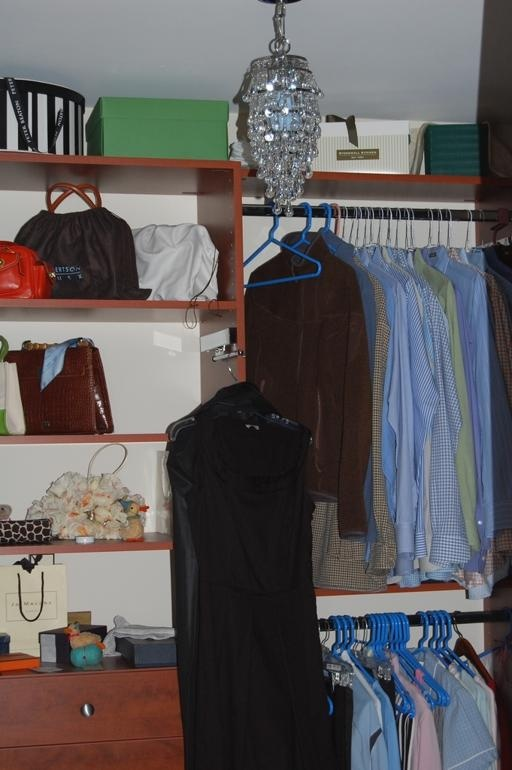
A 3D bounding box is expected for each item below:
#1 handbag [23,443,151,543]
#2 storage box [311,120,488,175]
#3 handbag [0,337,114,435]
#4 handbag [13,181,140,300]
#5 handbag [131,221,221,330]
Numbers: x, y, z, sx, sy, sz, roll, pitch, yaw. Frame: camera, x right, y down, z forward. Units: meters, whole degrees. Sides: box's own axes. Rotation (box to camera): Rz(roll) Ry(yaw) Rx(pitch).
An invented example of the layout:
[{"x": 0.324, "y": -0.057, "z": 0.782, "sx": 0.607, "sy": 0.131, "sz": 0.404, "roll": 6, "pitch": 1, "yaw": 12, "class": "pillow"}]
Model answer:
[{"x": -0.462, "y": 0.287, "z": 2.014, "sx": 0.314, "sy": 0.264, "sz": 0.230, "roll": 2, "pitch": 7, "yaw": 19, "class": "handbag"}, {"x": 0.422, "y": -0.697, "z": 2.134, "sx": 0.494, "sy": 0.194, "sz": 0.160, "roll": -7, "pitch": 7, "yaw": -19, "class": "storage box"}, {"x": -0.543, "y": 0.010, "z": 1.942, "sx": 0.272, "sy": 0.239, "sz": 0.106, "roll": -5, "pitch": -6, "yaw": 11, "class": "handbag"}, {"x": -0.514, "y": -0.391, "z": 2.020, "sx": 0.367, "sy": 0.327, "sz": 0.181, "roll": 2, "pitch": 0, "yaw": 5, "class": "handbag"}, {"x": -0.239, "y": -0.338, "z": 2.011, "sx": 0.254, "sy": 0.240, "sz": 0.214, "roll": -4, "pitch": 6, "yaw": 8, "class": "handbag"}]
